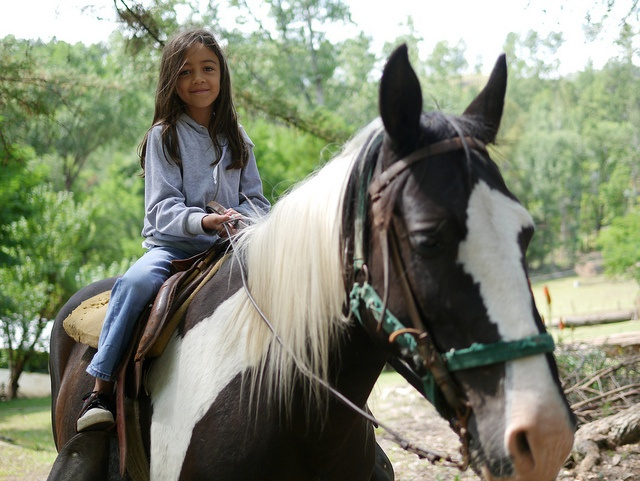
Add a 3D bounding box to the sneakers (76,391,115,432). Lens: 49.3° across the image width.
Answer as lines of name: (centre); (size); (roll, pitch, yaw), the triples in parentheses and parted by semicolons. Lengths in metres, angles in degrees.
sneakers: (-1.437, 1.071, 4.355); (0.130, 0.170, 0.372); (1, -9, -8)
